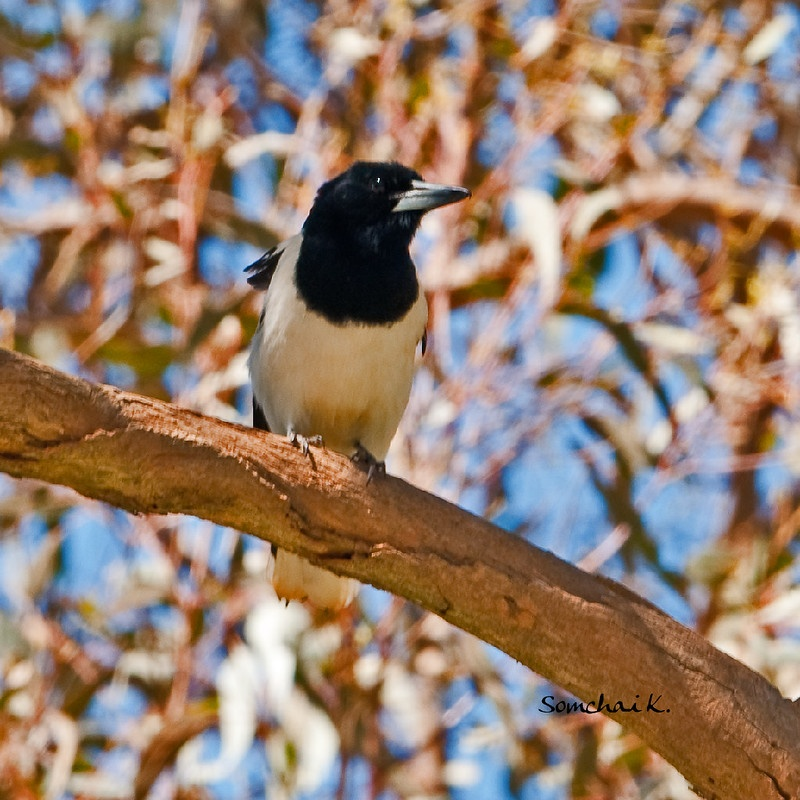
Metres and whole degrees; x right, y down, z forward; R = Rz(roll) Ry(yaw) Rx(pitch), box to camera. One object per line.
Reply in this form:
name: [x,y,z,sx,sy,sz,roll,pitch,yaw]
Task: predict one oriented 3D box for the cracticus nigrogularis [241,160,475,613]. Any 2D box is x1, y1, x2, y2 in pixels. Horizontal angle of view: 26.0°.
cracticus nigrogularis: [-0.233,0.046,5.814,0.542,1.539,0.819,4,50,-16]
